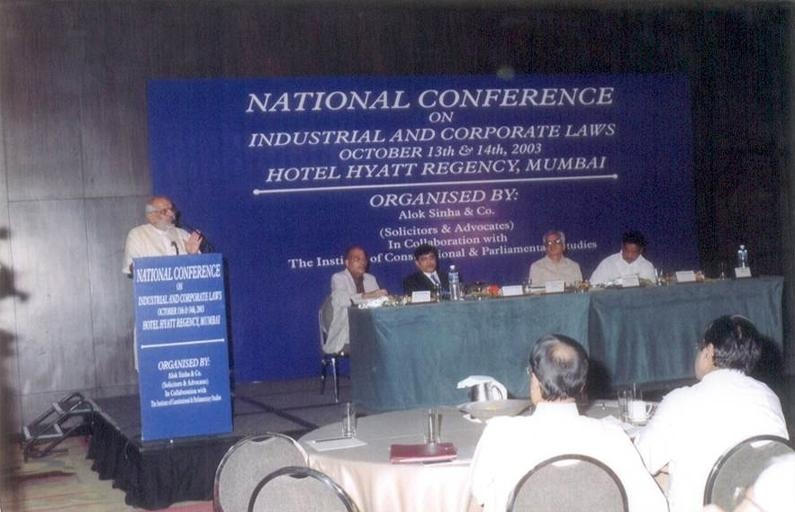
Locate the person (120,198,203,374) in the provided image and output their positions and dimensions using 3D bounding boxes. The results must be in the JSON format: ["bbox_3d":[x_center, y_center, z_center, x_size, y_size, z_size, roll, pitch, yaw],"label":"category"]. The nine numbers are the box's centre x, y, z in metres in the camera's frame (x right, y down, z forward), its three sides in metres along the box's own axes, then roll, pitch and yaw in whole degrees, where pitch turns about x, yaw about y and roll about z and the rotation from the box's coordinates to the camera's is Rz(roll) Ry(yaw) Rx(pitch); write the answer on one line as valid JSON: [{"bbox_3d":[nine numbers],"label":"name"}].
[{"bbox_3d":[-2.160,0.284,7.277,0.672,1.263,1.974,-6,3,-19],"label":"person"}]

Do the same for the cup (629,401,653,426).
[{"bbox_3d":[1.480,0.962,4.803,0.171,0.159,0.109,1,-5,1],"label":"cup"}]

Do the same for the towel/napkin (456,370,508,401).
[{"bbox_3d":[0.541,0.853,5.132,0.268,0.272,0.183,-1,4,33],"label":"towel/napkin"}]
